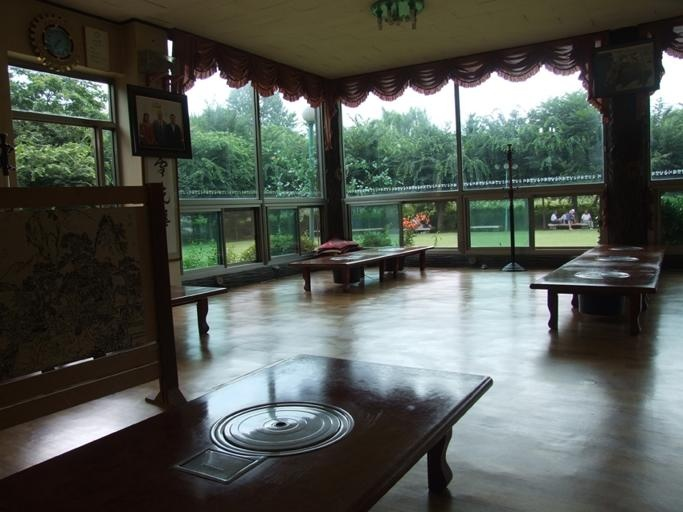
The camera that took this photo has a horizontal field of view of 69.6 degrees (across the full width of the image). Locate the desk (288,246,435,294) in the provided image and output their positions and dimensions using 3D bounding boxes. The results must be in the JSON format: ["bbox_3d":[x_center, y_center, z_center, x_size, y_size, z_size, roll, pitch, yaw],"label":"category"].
[{"bbox_3d":[0.309,0.185,7.523,1.092,0.489,2.315,3,9,37],"label":"desk"}]

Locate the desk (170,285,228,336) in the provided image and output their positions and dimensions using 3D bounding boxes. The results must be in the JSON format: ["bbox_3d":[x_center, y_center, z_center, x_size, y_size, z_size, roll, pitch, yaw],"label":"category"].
[{"bbox_3d":[-1.368,0.544,4.710,0.460,0.470,0.975,-6,8,-20],"label":"desk"}]
